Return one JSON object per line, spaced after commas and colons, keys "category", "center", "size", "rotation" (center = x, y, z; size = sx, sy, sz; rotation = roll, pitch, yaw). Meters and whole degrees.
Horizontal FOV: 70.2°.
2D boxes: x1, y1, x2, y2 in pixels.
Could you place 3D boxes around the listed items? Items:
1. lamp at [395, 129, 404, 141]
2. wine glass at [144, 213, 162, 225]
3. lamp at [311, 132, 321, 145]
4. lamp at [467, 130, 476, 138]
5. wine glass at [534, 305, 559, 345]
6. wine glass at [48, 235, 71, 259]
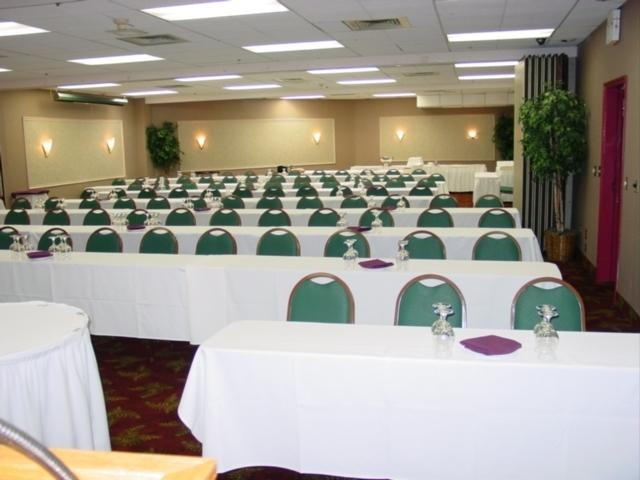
{"category": "lamp", "center": [3.893, -5.082, 22.201], "size": [0.419, 0.418, 0.462], "rotation": [0, 0, 9]}
{"category": "wine glass", "center": [-2.697, -0.335, 7.318], "size": [0.239, 0.182, 0.249], "rotation": [0, 1, -1]}
{"category": "lamp", "center": [-0.159, -4.951, 22.135], "size": [0.370, 0.524, 0.159], "rotation": [2, 4, -39]}
{"category": "lamp", "center": [7.111, -4.943, 21.332], "size": [0.324, 0.320, 0.289], "rotation": [-6, 12, -27]}
{"category": "wine glass", "center": [1.197, 0.450, 2.410], "size": [0.109, 0.210, 0.204], "rotation": [2, 9, 25]}
{"category": "wine glass", "center": [-2.941, 0.082, 5.166], "size": [0.204, 0.207, 0.213], "rotation": [8, 9, 32]}
